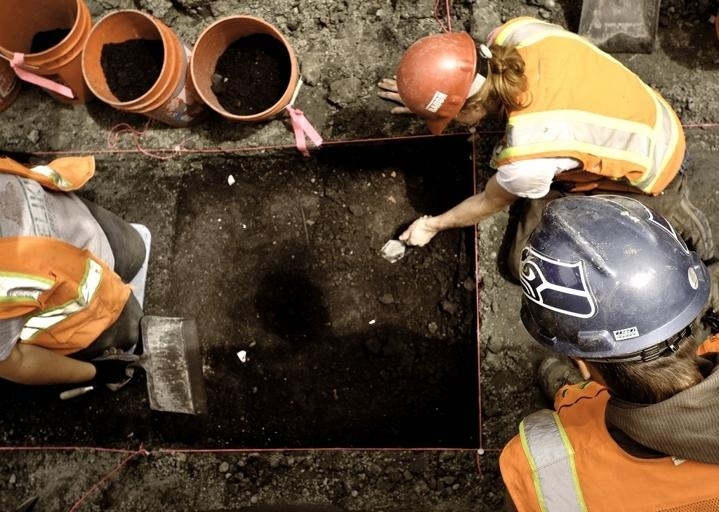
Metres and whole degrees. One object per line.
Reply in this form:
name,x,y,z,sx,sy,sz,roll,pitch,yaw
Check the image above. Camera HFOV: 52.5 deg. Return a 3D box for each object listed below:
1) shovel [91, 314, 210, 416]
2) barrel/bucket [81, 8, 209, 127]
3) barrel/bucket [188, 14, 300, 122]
shovel,-1.411,0.736,5.030,0.767,0.876,0.234,12,32,-3
barrel/bucket,-1.478,-1.296,5.066,0.819,0.673,0.498,16,-5,3
barrel/bucket,-0.776,-1.270,5.030,0.727,0.705,0.303,28,-4,4
